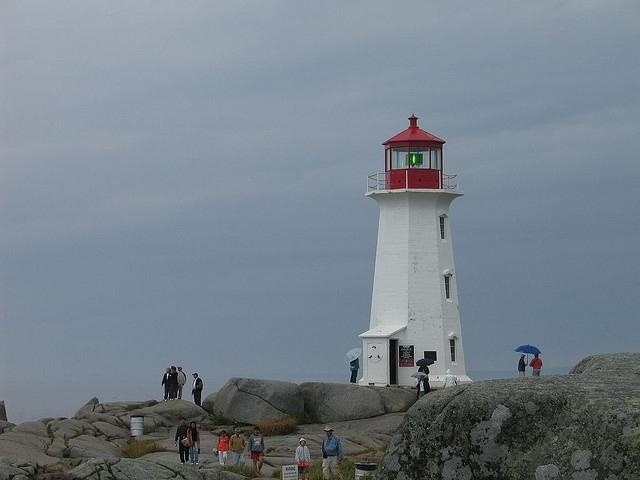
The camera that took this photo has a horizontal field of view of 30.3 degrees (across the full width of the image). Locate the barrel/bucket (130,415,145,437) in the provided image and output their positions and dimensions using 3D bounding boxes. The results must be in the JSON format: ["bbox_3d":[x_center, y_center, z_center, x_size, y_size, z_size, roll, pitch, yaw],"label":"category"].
[{"bbox_3d":[-6.519,6.571,42.078,0.569,0.789,0.577,0,-5,0],"label":"barrel/bucket"}]

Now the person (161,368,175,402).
[{"bbox_3d":[-6.302,5.962,48.960,0.393,1.326,0.730,3,-14,-6],"label":"person"}]

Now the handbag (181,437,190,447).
[{"bbox_3d":[-4.047,6.056,35.522,0.151,0.265,0.341,-9,-17,37],"label":"handbag"}]

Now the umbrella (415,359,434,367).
[{"bbox_3d":[4.251,4.941,47.990,0.657,0.385,1.081,1,-14,1],"label":"umbrella"}]

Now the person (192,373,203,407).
[{"bbox_3d":[-5.027,6.174,48.689,0.350,1.281,0.785,4,-14,-9],"label":"person"}]

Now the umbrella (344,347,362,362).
[{"bbox_3d":[1.487,4.926,50.787,0.558,0.530,0.763,3,-14,-7],"label":"umbrella"}]
